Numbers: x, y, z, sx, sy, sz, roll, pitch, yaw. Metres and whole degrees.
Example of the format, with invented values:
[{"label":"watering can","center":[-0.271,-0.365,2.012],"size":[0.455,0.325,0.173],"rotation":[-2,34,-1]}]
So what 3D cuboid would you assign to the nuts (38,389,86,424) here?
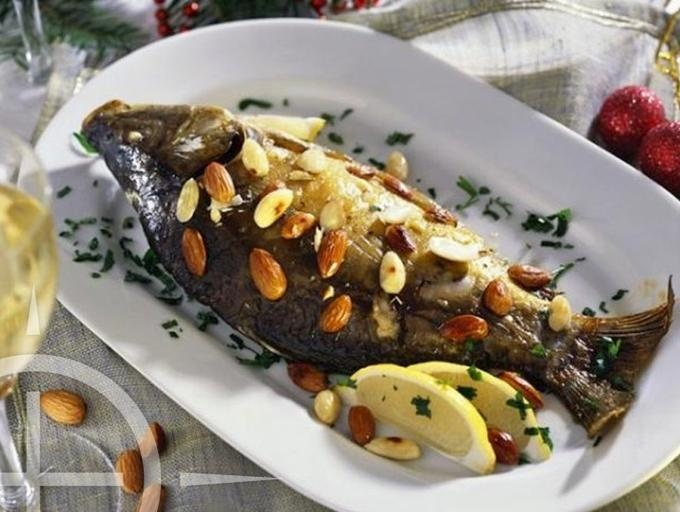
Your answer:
[{"label":"nuts","center":[-0.785,0.414,2.070],"size":[0.120,0.085,0.083],"rotation":[14,-71,2]}]
